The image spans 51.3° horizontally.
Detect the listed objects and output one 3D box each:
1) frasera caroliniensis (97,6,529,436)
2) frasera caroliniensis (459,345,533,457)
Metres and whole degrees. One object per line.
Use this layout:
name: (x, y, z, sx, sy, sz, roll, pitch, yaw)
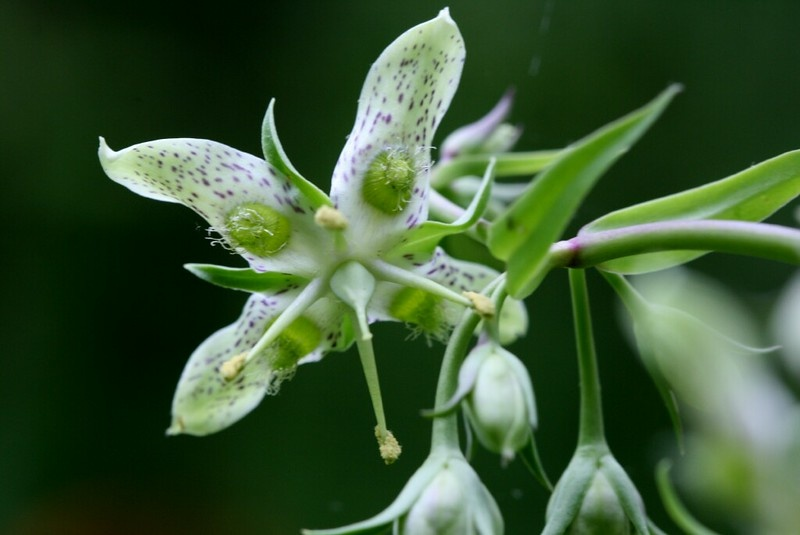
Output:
frasera caroliniensis: (-0.315, -0.275, 2.502, 1.125, 0.699, 1.093, 33, -82, -27)
frasera caroliniensis: (0.234, 0.315, 1.989, 0.164, 0.274, 0.053, -16, -19, 1)
